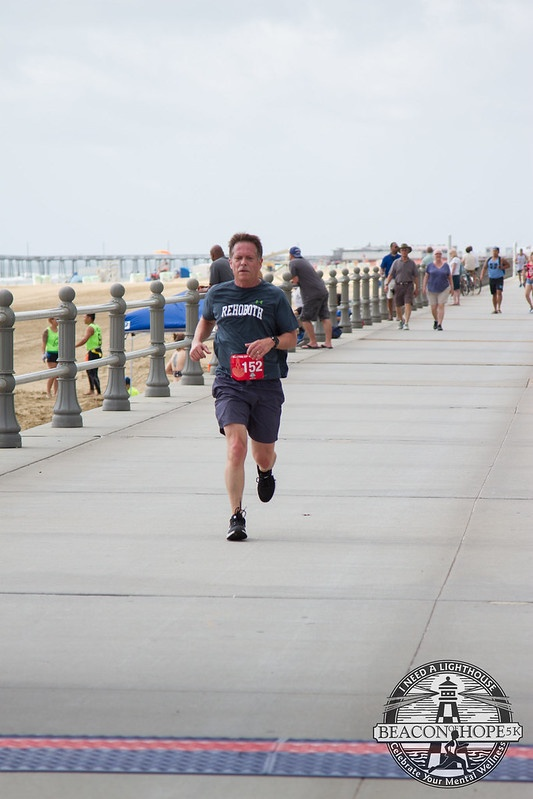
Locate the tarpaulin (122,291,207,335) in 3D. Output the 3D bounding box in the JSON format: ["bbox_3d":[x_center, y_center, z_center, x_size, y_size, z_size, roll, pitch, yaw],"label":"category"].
[{"bbox_3d":[-2.172,-1.662,27.314,1.790,0.745,1.704,-9,12,-28],"label":"tarpaulin"}]

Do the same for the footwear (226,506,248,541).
[{"bbox_3d":[-0.162,0.643,6.910,0.106,0.156,0.246,-1,6,-2],"label":"footwear"}]

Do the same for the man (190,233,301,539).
[{"bbox_3d":[-0.129,-0.105,7.208,0.593,1.599,1.075,-1,6,1],"label":"man"}]
